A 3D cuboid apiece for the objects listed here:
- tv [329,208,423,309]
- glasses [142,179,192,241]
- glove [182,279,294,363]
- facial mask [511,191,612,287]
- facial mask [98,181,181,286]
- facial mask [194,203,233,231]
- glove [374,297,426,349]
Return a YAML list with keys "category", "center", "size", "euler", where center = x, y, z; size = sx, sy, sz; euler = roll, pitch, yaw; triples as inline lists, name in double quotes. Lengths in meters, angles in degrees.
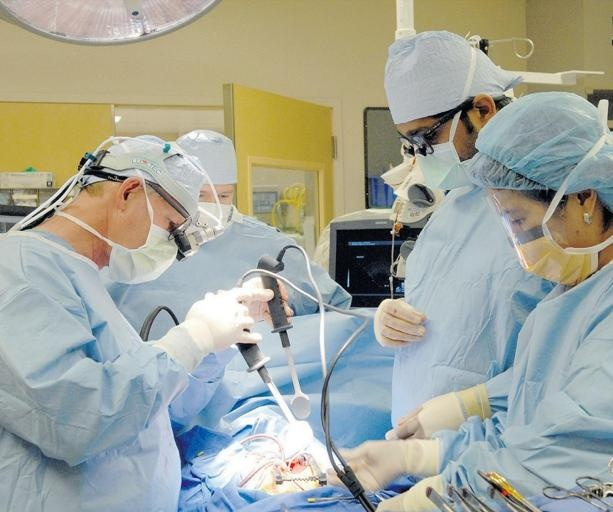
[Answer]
- category: "tv"
  center: [0.288, 0.022, 2.788]
  size: [0.384, 0.417, 0.041]
  euler: [-1, 1, 20]
- category: "glasses"
  center: [-0.387, -0.124, 1.835]
  size: [0.043, 0.111, 0.139]
  euler: [-41, 43, -12]
- category: "glove"
  center: [-0.206, 0.215, 1.932]
  size: [0.283, 0.090, 0.220]
  euler: [-12, 36, -33]
- category: "facial mask"
  center: [0.592, -0.022, 1.600]
  size: [0.196, 0.174, 0.191]
  euler: [-20, -2, 31]
- category: "facial mask"
  center: [-0.497, -0.042, 1.923]
  size: [0.124, 0.245, 0.233]
  euler: [-25, 0, 12]
- category: "facial mask"
  center: [-0.362, -0.162, 2.696]
  size: [0.152, 0.103, 0.171]
  euler: [0, 1, -11]
- category: "glove"
  center: [0.280, 0.193, 2.081]
  size: [0.131, 0.134, 0.184]
  euler: [24, 18, 16]
